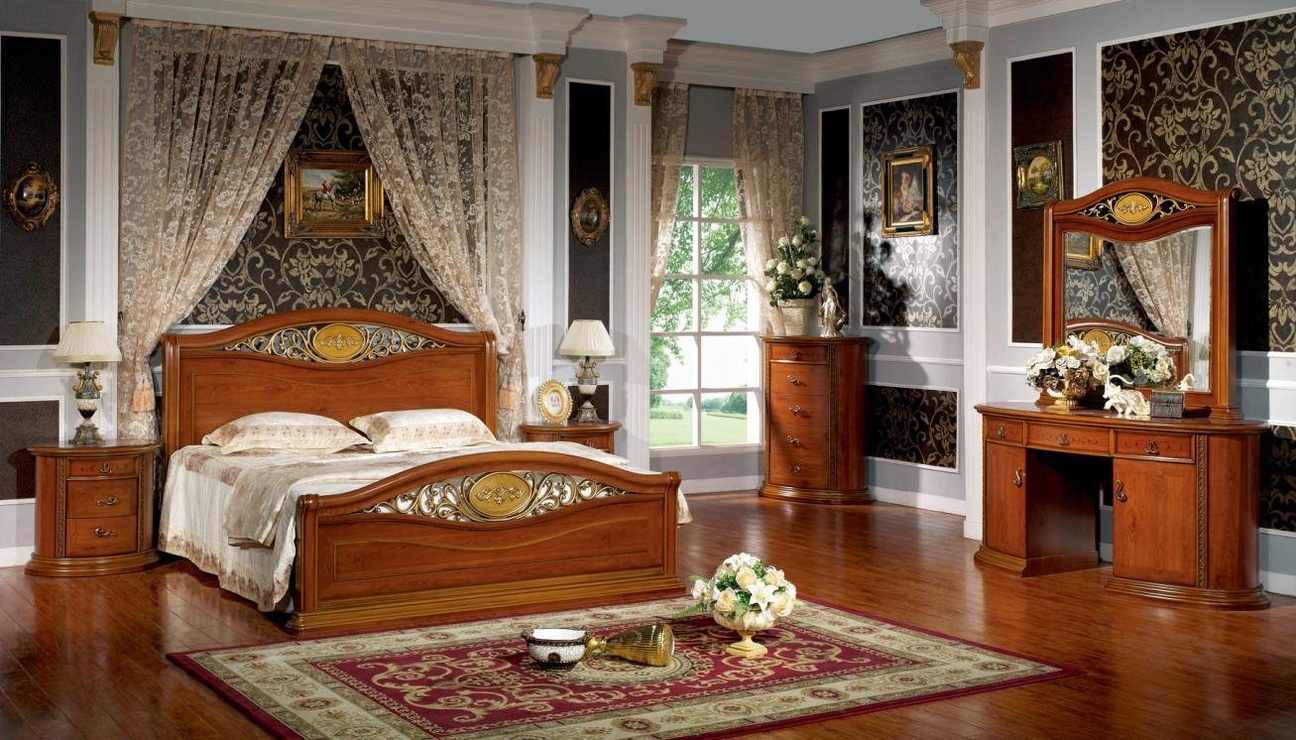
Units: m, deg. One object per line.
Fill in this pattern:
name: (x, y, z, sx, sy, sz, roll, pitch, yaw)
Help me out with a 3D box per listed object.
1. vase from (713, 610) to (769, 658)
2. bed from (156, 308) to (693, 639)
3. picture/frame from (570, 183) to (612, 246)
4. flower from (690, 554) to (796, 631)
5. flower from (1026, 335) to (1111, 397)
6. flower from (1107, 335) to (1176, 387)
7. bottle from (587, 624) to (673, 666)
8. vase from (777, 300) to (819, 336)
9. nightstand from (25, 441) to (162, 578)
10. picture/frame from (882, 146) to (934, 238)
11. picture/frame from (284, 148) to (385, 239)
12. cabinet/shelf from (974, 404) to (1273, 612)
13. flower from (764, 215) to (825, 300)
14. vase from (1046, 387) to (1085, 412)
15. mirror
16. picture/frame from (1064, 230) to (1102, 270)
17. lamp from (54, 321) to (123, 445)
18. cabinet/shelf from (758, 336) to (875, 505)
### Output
vase: (0.519, 1.427, 4.637, 0.284, 0.199, 0.291, 4, -6, -31)
bed: (-1.807, 0.481, 6.473, 2.809, 1.648, 2.788, -1, 9, -43)
picture/frame: (-0.532, -1.380, 7.756, 0.032, 0.517, 0.510, 13, 15, 34)
flower: (0.540, 1.238, 4.758, 0.517, 0.334, 0.505, -4, 8, -31)
flower: (3.195, 0.025, 6.495, 0.653, 0.426, 0.610, 4, 0, 14)
flower: (3.547, -0.076, 6.194, 0.361, 0.272, 0.388, -2, 11, -7)
bottle: (-0.090, 1.444, 4.589, 0.401, 0.197, 0.198, -6, -1, 27)
vase: (1.512, -0.513, 8.655, 0.395, 0.254, 0.371, 0, -2, 3)
nightstand: (-4.022, 1.015, 6.192, 1.076, 0.918, 0.600, 0, 1, -32)
picture/frame: (2.539, -1.730, 8.371, 0.065, 0.806, 0.540, -4, 6, -45)
picture/frame: (-2.684, -1.486, 7.296, 0.907, 0.748, 0.122, 3, 6, 16)
cabinet/shelf: (3.270, 0.945, 5.875, 0.507, 0.675, 1.421, -2, 1, -41)
flower: (1.435, -1.019, 8.760, 0.509, 0.601, 0.492, -5, 9, 27)
vase: (3.061, 0.217, 6.374, 0.190, 0.103, 0.180, 1, 5, 14)
mirror: (3.571, -0.502, 6.147, 0.248, 1.835, 1.870, 0, 1, -35)
picture/frame: (3.275, -0.911, 6.484, 0.039, 0.330, 0.335, 3, 0, -39)
lamp: (-4.141, 0.077, 6.371, 0.394, 0.888, 0.430, -3, 5, -32)
cabinet/shelf: (1.649, 0.483, 8.532, 1.033, 1.628, 0.371, 1, 5, 8)
